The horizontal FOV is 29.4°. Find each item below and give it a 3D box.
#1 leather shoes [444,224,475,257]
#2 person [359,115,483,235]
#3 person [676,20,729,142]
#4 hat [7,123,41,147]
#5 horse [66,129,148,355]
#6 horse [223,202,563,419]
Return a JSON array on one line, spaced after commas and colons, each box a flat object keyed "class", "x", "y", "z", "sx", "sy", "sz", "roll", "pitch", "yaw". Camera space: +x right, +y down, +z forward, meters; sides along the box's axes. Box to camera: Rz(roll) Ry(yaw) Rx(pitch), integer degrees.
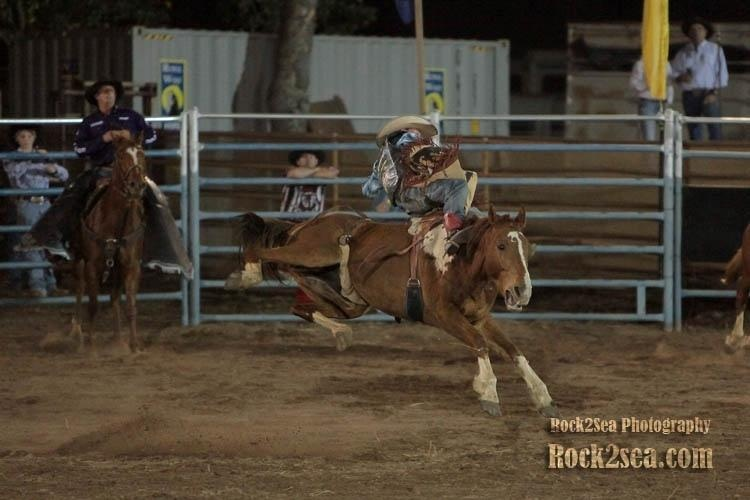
[{"class": "leather shoes", "x": 0.888, "y": -0.095, "z": 15.502, "sx": 0.223, "sy": 0.369, "sz": 0.158, "roll": 44, "pitch": -6, "yaw": 8}, {"class": "person", "x": 0.523, "y": -0.858, "z": 15.802, "sx": 1.363, "sy": 1.253, "sz": 0.632, "roll": 19, "pitch": 49, "yaw": 14}, {"class": "person", "x": 4.678, "y": -2.607, "z": 20.494, "sx": 0.639, "sy": 1.386, "sz": 0.948, "roll": -1, "pitch": 5, "yaw": -11}, {"class": "hat", "x": -4.924, "y": -1.617, "z": 20.091, "sx": 0.368, "sy": 0.397, "sz": 0.453, "roll": -2, "pitch": -22, "yaw": -28}, {"class": "horse", "x": -3.295, "y": -0.090, "z": 17.560, "sx": 0.885, "sy": 2.595, "sz": 1.388, "roll": -2, "pitch": 5, "yaw": -15}, {"class": "horse", "x": 0.056, "y": 0.408, "z": 16.354, "sx": 4.885, "sy": 1.915, "sz": 1.047, "roll": 12, "pitch": 1, "yaw": 42}]
